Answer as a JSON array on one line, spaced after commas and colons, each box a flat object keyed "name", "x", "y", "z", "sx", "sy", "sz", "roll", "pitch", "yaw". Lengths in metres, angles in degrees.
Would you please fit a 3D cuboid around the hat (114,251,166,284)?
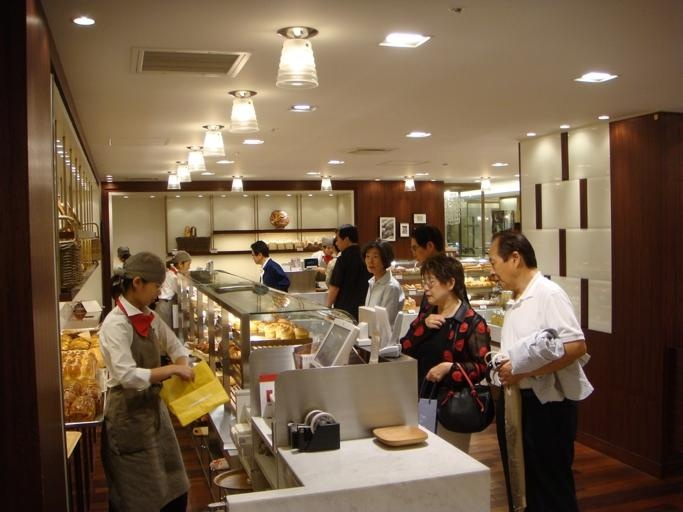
[{"name": "hat", "x": -1.149, "y": 0.052, "z": 2.844, "sx": 0.218, "sy": 0.153, "sz": 0.163, "roll": 10, "pitch": 4, "yaw": 1}]

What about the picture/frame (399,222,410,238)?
[{"name": "picture/frame", "x": 1.504, "y": -0.619, "z": 11.858, "sx": 0.342, "sy": 0.456, "sz": 0.041, "roll": 2, "pitch": -4, "yaw": -21}]

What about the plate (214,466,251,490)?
[{"name": "plate", "x": -0.643, "y": 1.340, "z": 2.952, "sx": 0.165, "sy": 0.020, "sz": 0.173, "roll": 3, "pitch": 5, "yaw": 19}]

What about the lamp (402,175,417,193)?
[{"name": "lamp", "x": 1.480, "y": -1.561, "z": 10.686, "sx": 0.308, "sy": 0.400, "sz": 0.327, "roll": 0, "pitch": -5, "yaw": 1}]

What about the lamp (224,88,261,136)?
[{"name": "lamp", "x": -0.743, "y": -1.096, "z": 3.794, "sx": 0.206, "sy": 0.295, "sz": 0.208, "roll": -11, "pitch": 20, "yaw": -37}]

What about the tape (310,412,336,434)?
[{"name": "tape", "x": -0.085, "y": 0.750, "z": 2.239, "sx": 0.080, "sy": 0.037, "sz": 0.084, "roll": 2, "pitch": 9, "yaw": 26}]

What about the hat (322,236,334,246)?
[{"name": "hat", "x": -0.210, "y": -0.259, "z": 8.506, "sx": 0.149, "sy": 0.178, "sz": 0.215, "roll": 2, "pitch": -3, "yaw": -20}]

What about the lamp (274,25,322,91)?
[{"name": "lamp", "x": -0.226, "y": -1.125, "z": 2.817, "sx": 0.268, "sy": 0.316, "sz": 0.256, "roll": 22, "pitch": 35, "yaw": 39}]

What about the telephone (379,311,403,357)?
[{"name": "telephone", "x": 0.232, "y": 0.424, "z": 2.618, "sx": 0.184, "sy": 0.235, "sz": 0.154, "roll": -1, "pitch": -12, "yaw": 3}]

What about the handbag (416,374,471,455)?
[{"name": "handbag", "x": 0.546, "y": 0.834, "z": 2.674, "sx": 0.147, "sy": 0.477, "sz": 0.463, "roll": -3, "pitch": -18, "yaw": 38}]

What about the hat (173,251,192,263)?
[{"name": "hat", "x": -2.389, "y": 0.019, "z": 7.446, "sx": 0.236, "sy": 0.146, "sz": 0.163, "roll": -17, "pitch": 17, "yaw": 12}]

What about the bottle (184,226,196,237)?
[{"name": "bottle", "x": -3.550, "y": -0.574, "z": 11.643, "sx": 0.257, "sy": 0.255, "sz": 0.318, "roll": -3, "pitch": 4, "yaw": 0}]

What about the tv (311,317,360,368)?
[{"name": "tv", "x": -0.039, "y": 0.457, "z": 2.542, "sx": 0.202, "sy": 0.262, "sz": 0.365, "roll": -4, "pitch": 4, "yaw": -12}]

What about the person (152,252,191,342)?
[{"name": "person", "x": -2.374, "y": 0.639, "z": 6.973, "sx": 0.401, "sy": 1.419, "sz": 0.350, "roll": 3, "pitch": 17, "yaw": -37}]

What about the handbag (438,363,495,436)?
[{"name": "handbag", "x": 0.680, "y": 0.792, "z": 2.802, "sx": 0.282, "sy": 0.388, "sz": 0.176, "roll": -5, "pitch": -7, "yaw": 16}]

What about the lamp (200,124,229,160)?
[{"name": "lamp", "x": -1.225, "y": -1.106, "z": 4.762, "sx": 0.191, "sy": 0.274, "sz": 0.187, "roll": -5, "pitch": 11, "yaw": -36}]
